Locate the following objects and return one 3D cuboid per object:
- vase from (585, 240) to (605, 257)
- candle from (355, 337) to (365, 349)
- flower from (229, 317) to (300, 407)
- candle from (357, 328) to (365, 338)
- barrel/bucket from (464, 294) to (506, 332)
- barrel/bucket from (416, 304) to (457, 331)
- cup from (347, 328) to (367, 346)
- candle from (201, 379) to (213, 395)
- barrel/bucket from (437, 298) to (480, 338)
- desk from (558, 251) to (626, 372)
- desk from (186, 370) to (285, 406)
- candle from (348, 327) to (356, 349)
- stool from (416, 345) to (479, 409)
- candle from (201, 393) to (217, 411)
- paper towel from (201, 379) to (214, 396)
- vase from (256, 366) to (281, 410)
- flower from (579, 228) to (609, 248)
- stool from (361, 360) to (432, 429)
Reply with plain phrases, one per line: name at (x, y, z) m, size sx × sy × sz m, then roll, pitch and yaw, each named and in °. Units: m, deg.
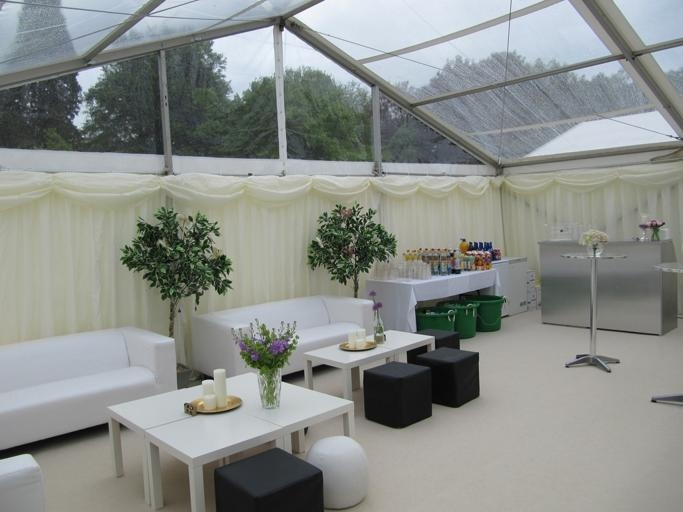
vase at (3.181, -0.098, 6.674) m, size 0.210 × 0.173 × 0.218 m, roll -2°, pitch 1°, yaw 16°
candle at (0.206, 0.949, 5.730) m, size 0.086 × 0.091 × 0.092 m, roll 0°, pitch -3°, yaw -2°
flower at (-0.591, 0.886, 4.388) m, size 0.431 × 0.750 × 0.322 m, roll -1°, pitch 10°, yaw 8°
candle at (0.207, 0.841, 5.796) m, size 0.076 × 0.066 × 0.082 m, roll 0°, pitch -2°, yaw -1°
barrel/bucket at (2.270, 0.894, 8.404) m, size 0.526 × 0.480 × 0.590 m, roll -3°, pitch 3°, yaw -9°
barrel/bucket at (1.337, 0.907, 7.659) m, size 0.383 × 0.314 × 0.403 m, roll -1°, pitch -3°, yaw 0°
cup at (0.175, 0.891, 5.820) m, size 0.113 × 0.171 × 0.220 m, roll -1°, pitch -2°, yaw 29°
candle at (-1.140, 1.106, 4.512) m, size 0.111 × 0.147 × 0.120 m, roll 0°, pitch -2°, yaw -3°
barrel/bucket at (1.789, 0.941, 8.124) m, size 0.512 × 0.480 × 0.526 m, roll -4°, pitch -3°, yaw 0°
desk at (3.387, 0.531, 7.252) m, size 0.782 × 1.508 × 2.188 m, roll 3°, pitch 10°, yaw 27°
desk at (-0.862, 1.094, 4.592) m, size 0.896 × 0.442 × 0.266 m, roll 2°, pitch -1°, yaw 9°
candle at (0.111, 0.910, 5.833) m, size 0.126 × 0.241 × 0.135 m, roll -2°, pitch 5°, yaw -10°
stool at (1.112, 1.263, 5.593) m, size 0.522 × 0.589 × 0.557 m, roll -2°, pitch 0°, yaw 28°
candle at (-1.093, 1.210, 4.394) m, size 0.099 × 0.110 × 0.108 m, roll 0°, pitch 0°, yaw -9°
paper towel at (-1.148, 1.110, 4.515) m, size 0.114 × 0.151 × 0.123 m, roll 0°, pitch -1°, yaw -1°
vase at (-0.587, 1.089, 4.379) m, size 0.258 × 0.447 × 0.270 m, roll 0°, pitch -3°, yaw -1°
flower at (3.053, -0.201, 6.477) m, size 0.271 × 0.230 × 0.358 m, roll 1°, pitch 10°, yaw 19°
stool at (0.525, 1.317, 5.307) m, size 0.544 × 0.611 × 0.566 m, roll -2°, pitch 1°, yaw 41°
